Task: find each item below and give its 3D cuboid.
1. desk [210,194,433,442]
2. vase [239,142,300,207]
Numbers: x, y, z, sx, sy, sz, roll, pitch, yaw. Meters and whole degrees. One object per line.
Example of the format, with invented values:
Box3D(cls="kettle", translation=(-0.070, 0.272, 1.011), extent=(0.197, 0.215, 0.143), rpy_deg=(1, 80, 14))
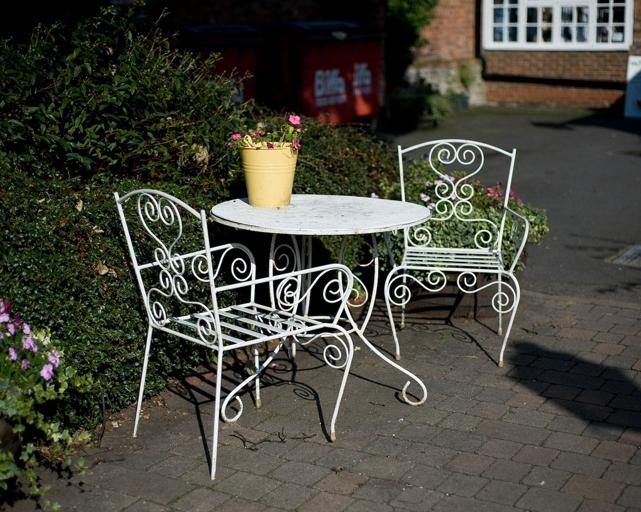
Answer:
Box3D(cls="desk", translation=(-0.115, 0.405, 4.537), extent=(1.303, 1.096, 1.287), rpy_deg=(-20, 14, -1))
Box3D(cls="vase", translation=(-0.361, -0.500, 4.689), extent=(0.425, 0.347, 0.396), rpy_deg=(-7, 7, -33))
